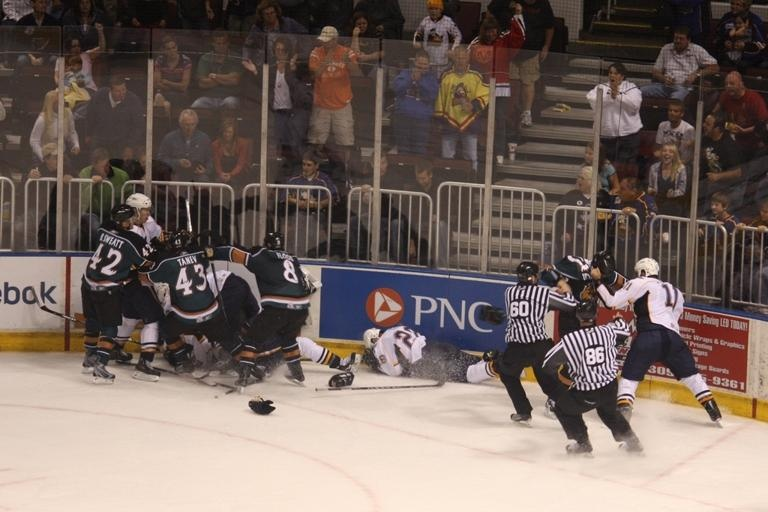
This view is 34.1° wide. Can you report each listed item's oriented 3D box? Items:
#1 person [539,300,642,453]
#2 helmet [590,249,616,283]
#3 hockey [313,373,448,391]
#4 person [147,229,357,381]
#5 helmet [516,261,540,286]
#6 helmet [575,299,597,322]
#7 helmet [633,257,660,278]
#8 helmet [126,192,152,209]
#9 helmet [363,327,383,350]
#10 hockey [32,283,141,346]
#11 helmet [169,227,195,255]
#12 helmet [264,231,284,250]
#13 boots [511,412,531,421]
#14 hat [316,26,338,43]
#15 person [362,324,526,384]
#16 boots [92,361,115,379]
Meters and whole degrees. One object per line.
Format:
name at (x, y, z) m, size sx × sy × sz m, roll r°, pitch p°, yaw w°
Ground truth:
person at (2.260, 1.393, 13.921) m, size 1.369 × 1.861 × 0.998 m, roll -8°, pitch 18°, yaw -7°
helmet at (2.511, 0.122, 14.531) m, size 0.290 × 0.333 × 0.334 m, roll 1°, pitch 10°, yaw -34°
hockey at (-0.015, 1.564, 15.314) m, size 1.252 × 0.134 × 0.196 m, roll 1°, pitch 4°, yaw -6°
person at (-1.680, 0.630, 15.381) m, size 2.030 × 1.339 × 0.677 m, roll -2°, pitch 5°, yaw -31°
helmet at (1.610, 0.205, 14.476) m, size 0.241 × 0.245 × 0.279 m, roll 5°, pitch 19°, yaw 27°
helmet at (2.234, 0.620, 14.037) m, size 0.205 × 0.238 × 0.223 m, roll 4°, pitch -5°, yaw 0°
helmet at (3.033, 0.143, 14.506) m, size 0.202 × 0.208 × 0.257 m, roll -12°, pitch 28°, yaw -42°
helmet at (-3.044, -0.693, 15.557) m, size 0.262 × 0.223 × 0.184 m, roll -1°, pitch 43°, yaw -9°
helmet at (-0.147, 1.038, 15.664) m, size 0.210 × 0.250 × 0.257 m, roll -3°, pitch -6°, yaw 19°
hockey at (-3.716, 0.721, 15.642) m, size 1.776 × 0.341 × 0.232 m, roll 17°, pitch -37°, yaw -21°
helmet at (-2.414, -0.177, 14.953) m, size 0.243 × 0.258 × 0.298 m, roll -4°, pitch -13°, yaw 8°
helmet at (-1.320, -0.178, 15.198) m, size 0.201 × 0.190 × 0.223 m, roll -13°, pitch 10°, yaw -40°
boots at (1.557, 1.866, 14.426) m, size 0.260 × 0.097 × 0.086 m, roll 0°, pitch 1°, yaw 27°
hat at (-0.669, -2.735, 15.605) m, size 0.220 × 0.163 × 0.301 m, roll 16°, pitch 28°, yaw 32°
person at (0.526, 1.245, 15.573) m, size 1.746 × 0.474 × 0.666 m, roll 13°, pitch 17°, yaw -15°
boots at (-3.335, 1.390, 15.048) m, size 0.267 × 0.217 × 0.259 m, roll 4°, pitch 2°, yaw -12°
